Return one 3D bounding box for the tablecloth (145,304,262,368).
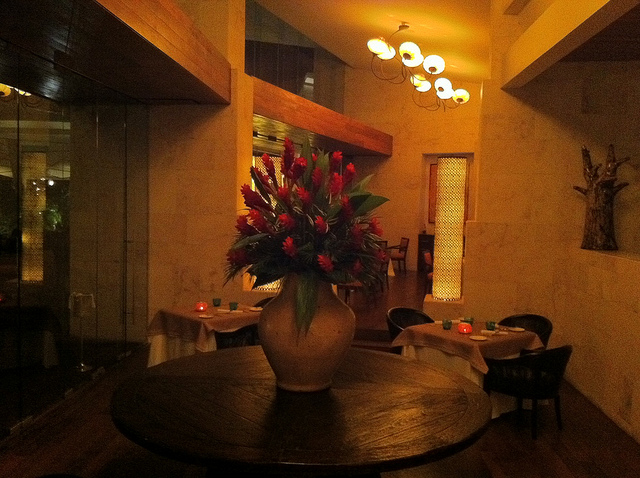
[{"bbox_3d":[-1.307,1.099,5.519,1.062,0.560,0.912,2,-1,43],"label":"tablecloth"}]

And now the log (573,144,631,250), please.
[{"bbox_3d":[3.410,-0.505,5.985,0.532,1.267,0.520,7,12,32],"label":"log"}]

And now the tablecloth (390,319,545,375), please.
[{"bbox_3d":[1.428,0.958,5.061,1.163,0.202,1.195,-8,9,-12],"label":"tablecloth"}]

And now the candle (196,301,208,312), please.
[{"bbox_3d":[-1.335,0.740,5.514,0.110,0.098,0.110,0,4,-10],"label":"candle"}]

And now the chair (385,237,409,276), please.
[{"bbox_3d":[2.184,0.408,13.905,0.680,1.149,0.715,3,10,9],"label":"chair"}]

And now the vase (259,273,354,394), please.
[{"bbox_3d":[-0.047,0.454,2.579,0.540,0.658,0.537,1,-4,-5],"label":"vase"}]

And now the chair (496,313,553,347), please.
[{"bbox_3d":[2.310,0.924,5.364,0.482,0.384,0.430,0,-1,-27],"label":"chair"}]

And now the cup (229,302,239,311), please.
[{"bbox_3d":[-0.974,0.743,5.576,0.070,0.060,0.085,-3,-11,18],"label":"cup"}]

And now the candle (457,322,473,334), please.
[{"bbox_3d":[1.438,0.875,4.880,0.107,0.103,0.107,-1,-7,-8],"label":"candle"}]

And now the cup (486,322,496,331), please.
[{"bbox_3d":[1.726,0.875,4.963,0.068,0.057,0.072,1,-3,0],"label":"cup"}]

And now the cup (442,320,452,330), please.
[{"bbox_3d":[1.301,0.869,5.025,0.083,0.069,0.079,-1,4,0],"label":"cup"}]

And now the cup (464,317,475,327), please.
[{"bbox_3d":[1.573,0.857,5.182,0.097,0.073,0.097,0,-3,0],"label":"cup"}]

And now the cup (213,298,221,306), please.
[{"bbox_3d":[-1.195,0.711,5.676,0.074,0.062,0.074,-2,-1,0],"label":"cup"}]

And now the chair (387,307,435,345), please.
[{"bbox_3d":[1.040,1.098,5.645,0.501,0.586,0.558,-5,-21,29],"label":"chair"}]

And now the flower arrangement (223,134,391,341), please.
[{"bbox_3d":[-0.076,-0.040,2.775,0.896,1.069,0.911,0,2,33],"label":"flower arrangement"}]
